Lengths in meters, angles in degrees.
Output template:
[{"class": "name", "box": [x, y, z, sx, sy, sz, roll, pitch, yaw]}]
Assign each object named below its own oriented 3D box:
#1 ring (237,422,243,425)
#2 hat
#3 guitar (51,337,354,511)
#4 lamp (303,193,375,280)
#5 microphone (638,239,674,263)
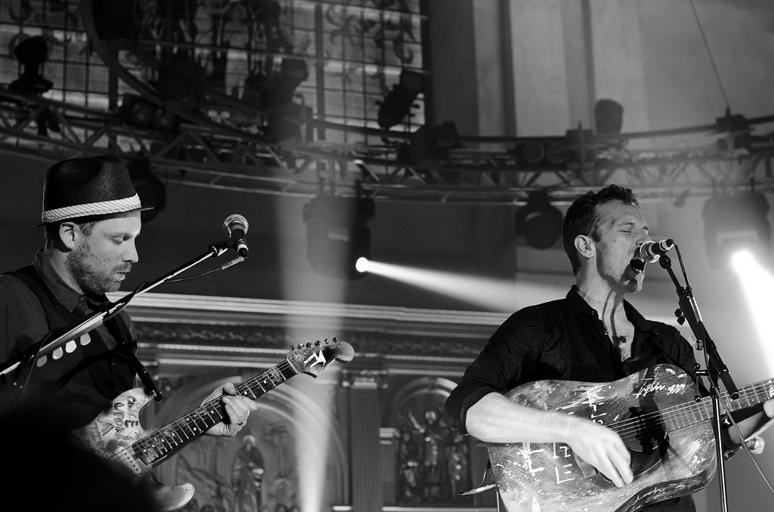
[{"class": "ring", "box": [-1.280, 1.513, 13.416, 0.029, 0.031, 0.034, 0, -10, 40]}, {"class": "hat", "box": [-2.539, -0.572, 13.158, 0.762, 0.383, 0.582, -16, 5, -2]}, {"class": "guitar", "box": [-1.723, 1.439, 13.823, 1.032, 2.909, 0.366, 61, -25, 0]}, {"class": "lamp", "box": [-0.580, -0.233, 17.898, 0.825, 0.620, 0.884, 6, -44, 0]}, {"class": "microphone", "box": [2.338, -0.042, 13.129, 0.135, 0.123, 0.234, -11, -6, -16]}]
